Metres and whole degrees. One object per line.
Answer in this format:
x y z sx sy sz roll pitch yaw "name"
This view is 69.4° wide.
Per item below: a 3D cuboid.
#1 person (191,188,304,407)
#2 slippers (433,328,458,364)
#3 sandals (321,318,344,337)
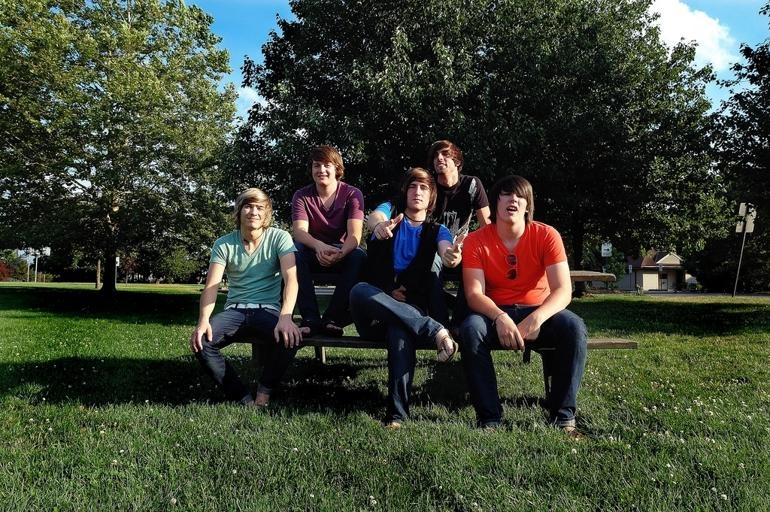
-1.899 0.548 7.806 1.399 2.907 0.988 -3 11 -10 "person"
0.771 1.129 7.140 0.250 0.376 0.214 1 11 9 "slippers"
-0.721 0.998 7.699 0.188 0.128 0.262 15 12 -22 "sandals"
